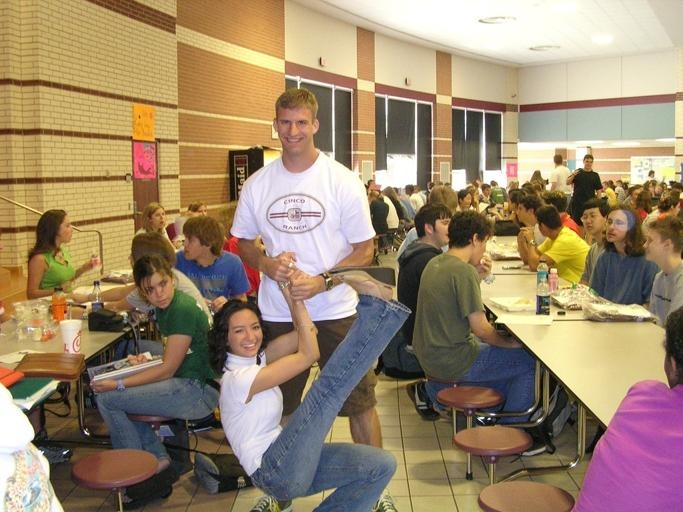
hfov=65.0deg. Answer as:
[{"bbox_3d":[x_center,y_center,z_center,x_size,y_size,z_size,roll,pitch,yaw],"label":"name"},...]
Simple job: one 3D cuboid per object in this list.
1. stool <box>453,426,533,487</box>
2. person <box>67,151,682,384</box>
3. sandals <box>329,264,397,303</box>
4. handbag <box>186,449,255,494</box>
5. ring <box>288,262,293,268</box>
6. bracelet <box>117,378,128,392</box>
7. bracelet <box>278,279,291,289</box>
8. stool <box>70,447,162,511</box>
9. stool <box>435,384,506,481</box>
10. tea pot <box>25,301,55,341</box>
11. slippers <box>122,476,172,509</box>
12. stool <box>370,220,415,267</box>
[{"bbox_3d":[0.755,1.067,2.764,0.341,0.217,0.340,-1,5,-1],"label":"stool"},{"bbox_3d":[0.038,0.008,4.488,3.258,0.746,1.477,9,13,34],"label":"person"},{"bbox_3d":[0.073,0.106,2.202,0.235,0.092,0.133,0,-8,10],"label":"sandals"},{"bbox_3d":[-0.737,1.299,3.247,0.314,0.101,0.221,15,14,-37],"label":"handbag"},{"bbox_3d":[-0.236,0.044,2.465,0.021,0.022,0.023,3,6,0],"label":"ring"},{"bbox_3d":[-1.281,0.750,3.093,0.044,0.066,0.063,3,-9,2],"label":"bracelet"},{"bbox_3d":[-0.266,0.126,2.461,0.044,0.044,0.015,-6,11,22],"label":"bracelet"},{"bbox_3d":[-1.048,1.005,2.546,0.328,0.349,0.327,5,29,-7],"label":"stool"},{"bbox_3d":[0.746,1.003,3.358,0.550,0.597,0.536,-1,3,0],"label":"stool"},{"bbox_3d":[-2.034,0.443,3.595,0.199,0.260,0.222,0,1,-12],"label":"tea pot"},{"bbox_3d":[-1.124,1.343,3.125,0.228,0.098,0.261,4,12,43],"label":"slippers"},{"bbox_3d":[0.832,-0.232,9.273,0.894,0.372,1.156,0,9,3],"label":"stool"}]
